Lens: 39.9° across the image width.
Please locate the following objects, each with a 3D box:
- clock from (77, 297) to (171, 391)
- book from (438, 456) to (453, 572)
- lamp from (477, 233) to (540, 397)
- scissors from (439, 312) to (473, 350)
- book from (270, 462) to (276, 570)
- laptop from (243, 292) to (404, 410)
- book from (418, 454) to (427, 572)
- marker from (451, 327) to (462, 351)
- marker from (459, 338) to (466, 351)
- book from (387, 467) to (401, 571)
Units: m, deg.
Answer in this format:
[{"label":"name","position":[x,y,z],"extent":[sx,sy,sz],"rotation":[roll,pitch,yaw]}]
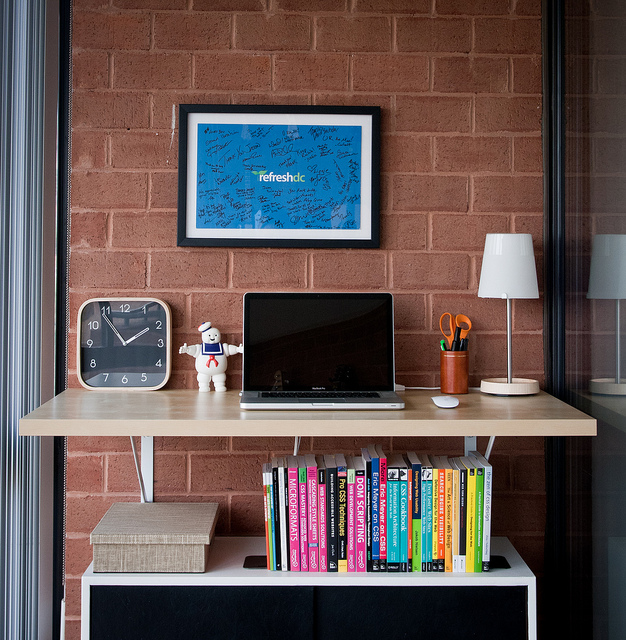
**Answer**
[{"label":"clock","position":[-0.512,0.074,2.340],"extent":[0.248,0.310,0.031],"rotation":[2,-37,-16]},{"label":"book","position":[0.331,0.487,2.087],"extent":[0.023,0.249,0.016],"rotation":[-1,2,5]},{"label":"lamp","position":[0.516,-0.018,2.281],"extent":[0.150,0.424,0.188],"rotation":[-1,2,9]},{"label":"scissors","position":[0.381,0.023,2.332],"extent":[0.017,0.123,0.057],"rotation":[3,7,-38]},{"label":"book","position":[-0.097,0.486,2.098],"extent":[0.009,0.239,0.034],"rotation":[-2,2,-7]},{"label":"laptop","position":[0.017,0.054,2.133],"extent":[0.375,0.325,0.248],"rotation":[0,-6,-6]},{"label":"book","position":[0.275,0.480,2.125],"extent":[0.014,0.260,0.086],"rotation":[-1,2,7]},{"label":"marker","position":[0.377,0.051,2.255],"extent":[0.027,0.060,0.021],"rotation":[-2,2,-4]},{"label":"marker","position":[0.393,0.066,2.250],"extent":[0.017,0.029,0.006],"rotation":[-2,2,-8]},{"label":"book","position":[0.198,0.485,2.087],"extent":[0.036,0.243,0.020],"rotation":[-1,2,11]}]
